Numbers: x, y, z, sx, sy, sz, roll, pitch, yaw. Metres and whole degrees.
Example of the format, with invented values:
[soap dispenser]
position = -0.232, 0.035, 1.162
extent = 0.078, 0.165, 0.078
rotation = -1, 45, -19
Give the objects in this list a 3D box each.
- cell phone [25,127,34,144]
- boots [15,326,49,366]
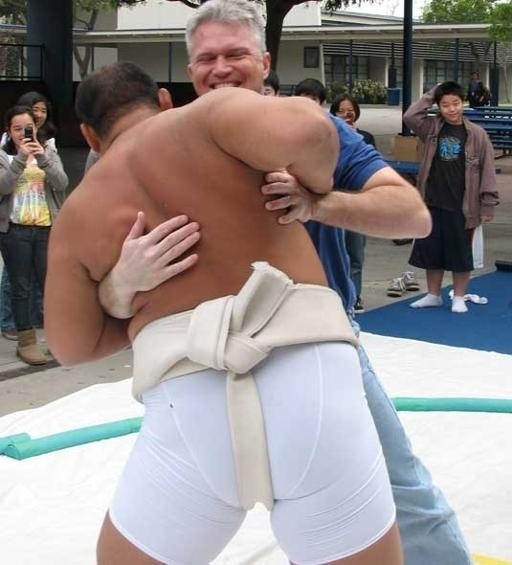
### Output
[cell phone]
position = -1.687, -1.094, 4.626
extent = 0.061, 0.101, 0.110
rotation = -4, 10, -19
[boots]
position = -1.708, 0.486, 4.739
extent = 0.155, 0.212, 0.430
rotation = -10, 15, -38
